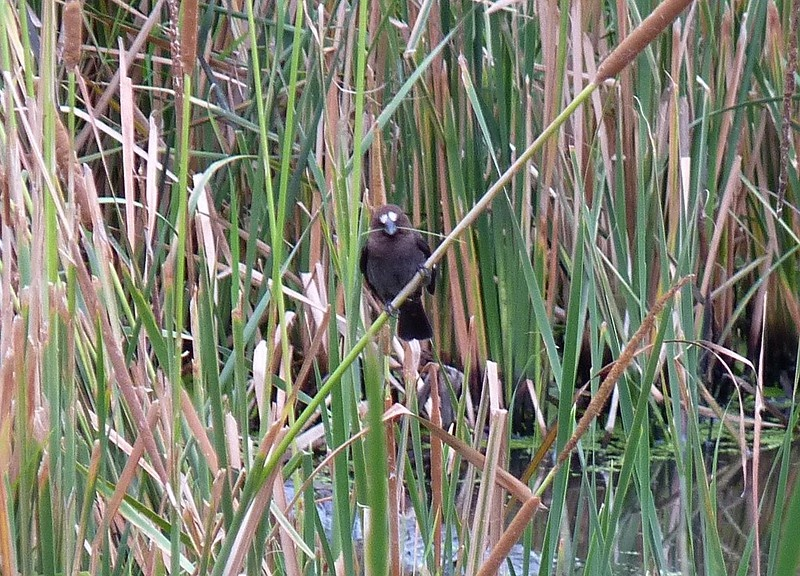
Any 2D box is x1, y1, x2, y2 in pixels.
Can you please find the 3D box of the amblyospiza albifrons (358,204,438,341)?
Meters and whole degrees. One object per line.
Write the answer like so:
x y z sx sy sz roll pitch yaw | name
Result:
-0.004 -0.055 5.952 0.210 0.446 0.528 -12 -23 2 | amblyospiza albifrons
